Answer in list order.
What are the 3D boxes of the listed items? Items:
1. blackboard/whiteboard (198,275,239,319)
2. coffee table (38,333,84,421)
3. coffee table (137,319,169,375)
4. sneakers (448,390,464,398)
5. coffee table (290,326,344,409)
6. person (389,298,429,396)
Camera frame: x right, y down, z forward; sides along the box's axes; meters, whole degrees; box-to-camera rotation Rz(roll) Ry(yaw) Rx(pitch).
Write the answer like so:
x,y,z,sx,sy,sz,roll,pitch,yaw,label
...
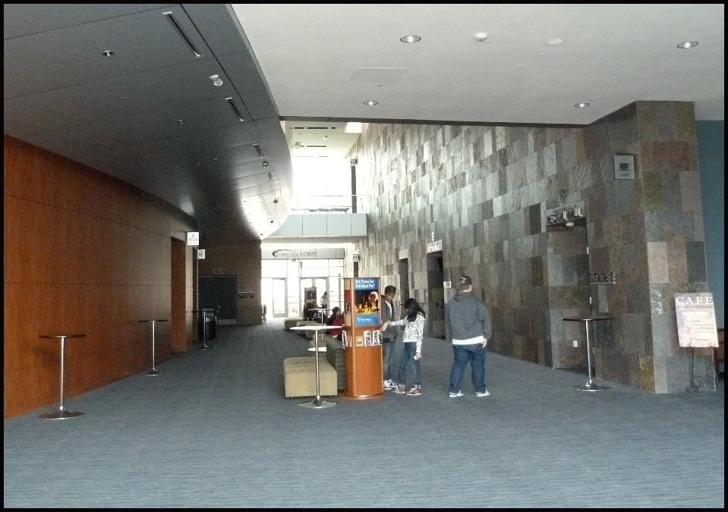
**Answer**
x,y,z,sx,sy,sz,roll,pitch,yaw,label
-6.964,1.791,27.386,2.278,2.578,0.278,0,0,-9,blackboard/whiteboard
-4.696,1.817,8.939,0.832,1.301,0.833,5,-5,-25,coffee table
-4.810,2.046,13.143,0.940,1.334,0.786,3,-15,-31,coffee table
1.518,2.250,9.476,0.101,0.126,0.278,1,1,39,sneakers
-0.756,1.817,9.381,0.832,1.194,0.852,-1,-11,-3,coffee table
0.768,1.557,10.155,0.601,1.601,0.954,-3,-4,2,person
